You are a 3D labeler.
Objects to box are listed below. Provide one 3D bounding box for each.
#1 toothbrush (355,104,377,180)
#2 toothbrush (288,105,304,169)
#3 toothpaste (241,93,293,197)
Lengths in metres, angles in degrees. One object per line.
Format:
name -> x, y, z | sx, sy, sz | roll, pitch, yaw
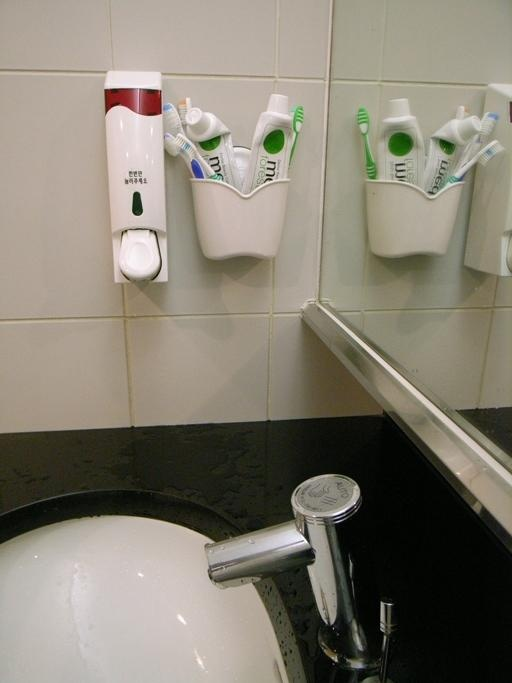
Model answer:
toothbrush -> 0.136, -0.242, 0.666 | 0.013, 0.101, 0.010 | -4, 4, 45
toothbrush -> 0.054, -0.286, 0.742 | 0.009, 0.102, 0.018 | 11, 4, 39
toothpaste -> 0.009, -0.252, 0.707 | 0.068, 0.129, 0.076 | -1, 26, -4
